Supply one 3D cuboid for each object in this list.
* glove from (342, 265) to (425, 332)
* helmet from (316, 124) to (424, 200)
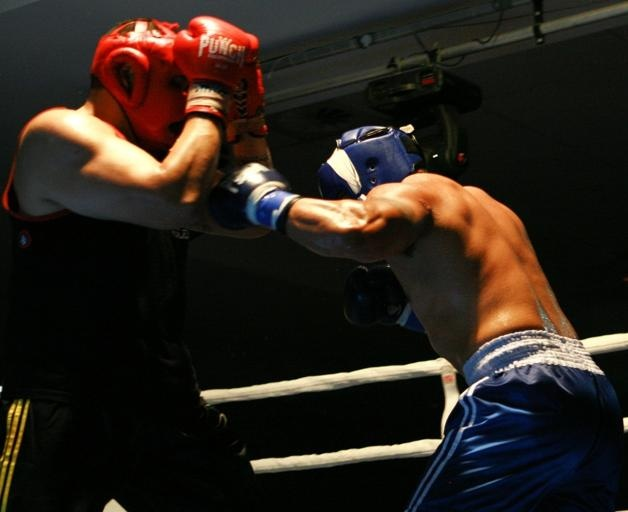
[{"bbox_3d":[0.234,0.180,2.864,0.406,0.262,0.289,-5,3,-28],"label":"glove"},{"bbox_3d":[0.218,-0.395,2.791,0.483,0.258,0.318,-16,11,9],"label":"helmet"}]
